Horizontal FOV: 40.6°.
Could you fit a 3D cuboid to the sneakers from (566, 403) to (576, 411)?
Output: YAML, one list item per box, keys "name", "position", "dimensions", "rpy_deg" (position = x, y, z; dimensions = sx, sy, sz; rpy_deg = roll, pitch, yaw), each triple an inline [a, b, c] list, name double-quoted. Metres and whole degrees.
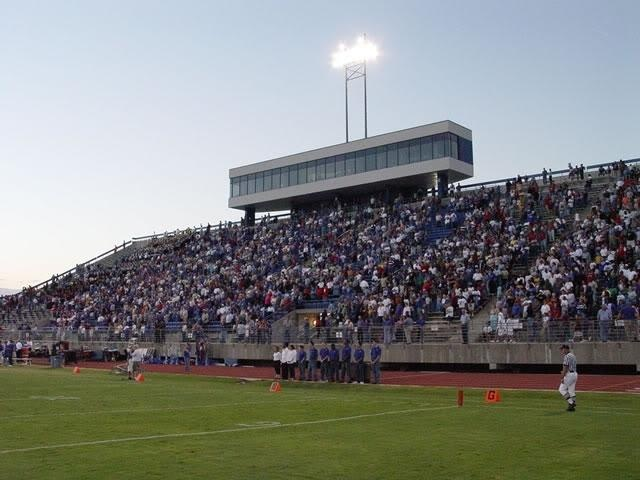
- name: "sneakers"
  position: [7.528, 4.998, 25.869]
  dimensions: [0.284, 0.289, 0.143]
  rpy_deg: [-5, -8, 42]
